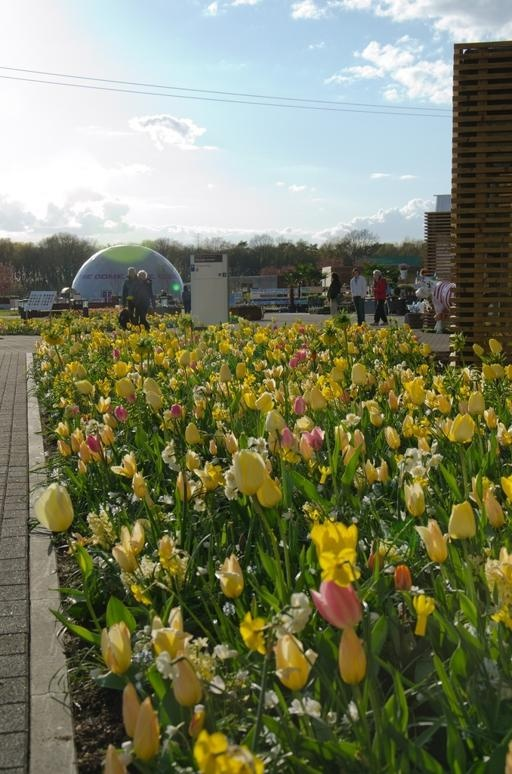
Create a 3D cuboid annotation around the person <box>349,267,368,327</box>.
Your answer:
[{"bbox_3d":[3.260,-2.952,17.078,0.440,1.642,2.417,1,8,11],"label":"person"}]
